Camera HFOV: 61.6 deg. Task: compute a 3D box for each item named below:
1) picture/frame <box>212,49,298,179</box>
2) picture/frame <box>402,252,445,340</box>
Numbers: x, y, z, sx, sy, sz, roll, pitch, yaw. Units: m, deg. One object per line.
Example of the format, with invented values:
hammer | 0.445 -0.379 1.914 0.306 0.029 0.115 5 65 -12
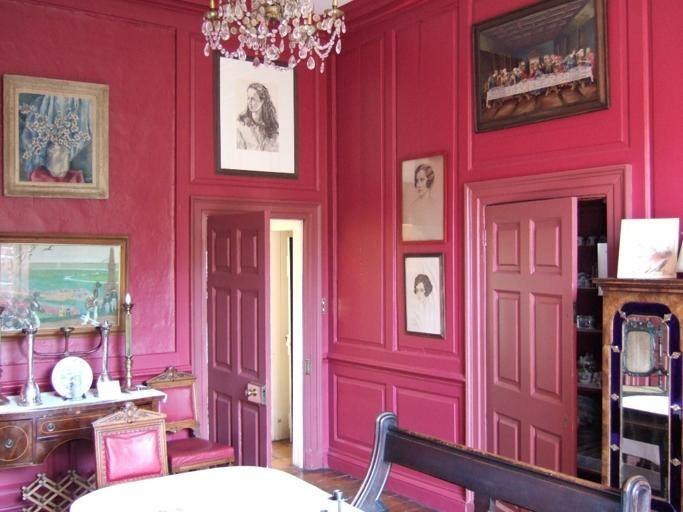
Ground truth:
picture/frame | -0.935 -1.447 5.899 1.260 1.749 0.066 1 -3 -35
picture/frame | 0.808 0.367 5.572 0.060 0.793 0.472 -2 4 -39
